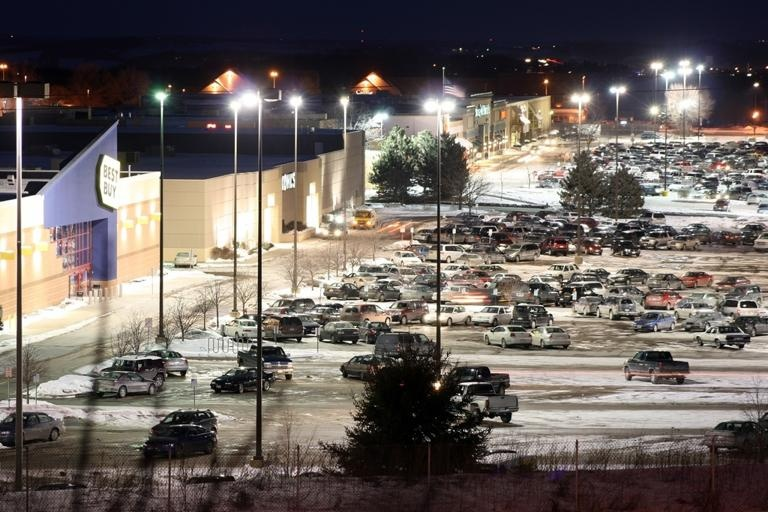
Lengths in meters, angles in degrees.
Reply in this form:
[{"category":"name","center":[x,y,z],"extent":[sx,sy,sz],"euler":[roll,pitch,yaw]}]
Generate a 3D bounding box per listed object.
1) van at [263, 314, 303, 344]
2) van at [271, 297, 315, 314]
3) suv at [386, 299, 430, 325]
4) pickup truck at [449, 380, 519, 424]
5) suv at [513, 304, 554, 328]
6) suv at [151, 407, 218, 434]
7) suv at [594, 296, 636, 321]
[{"category":"van","center":[-6.422,4.608,79.749],"extent":[2.461,1.611,1.330],"euler":[0,0,-37]},{"category":"van","center":[-6.196,3.538,85.945],"extent":[1.894,0.872,1.250],"euler":[4,4,7]},{"category":"suv","center":[1.323,3.811,85.178],"extent":[2.466,1.136,1.368],"euler":[2,-2,-44]},{"category":"pickup truck","center":[5.060,7.214,62.009],"extent":[2.526,1.870,3.408],"euler":[0,0,2]},{"category":"suv","center":[9.496,3.985,84.009],"extent":[2.403,1.032,1.327],"euler":[-6,8,-40]},{"category":"suv","center":[-9.136,7.653,59.365],"extent":[2.208,0.941,1.256],"euler":[6,-6,-42]},{"category":"suv","center":[15.734,3.629,87.273],"extent":[2.612,1.530,1.097],"euler":[-1,0,43]}]
